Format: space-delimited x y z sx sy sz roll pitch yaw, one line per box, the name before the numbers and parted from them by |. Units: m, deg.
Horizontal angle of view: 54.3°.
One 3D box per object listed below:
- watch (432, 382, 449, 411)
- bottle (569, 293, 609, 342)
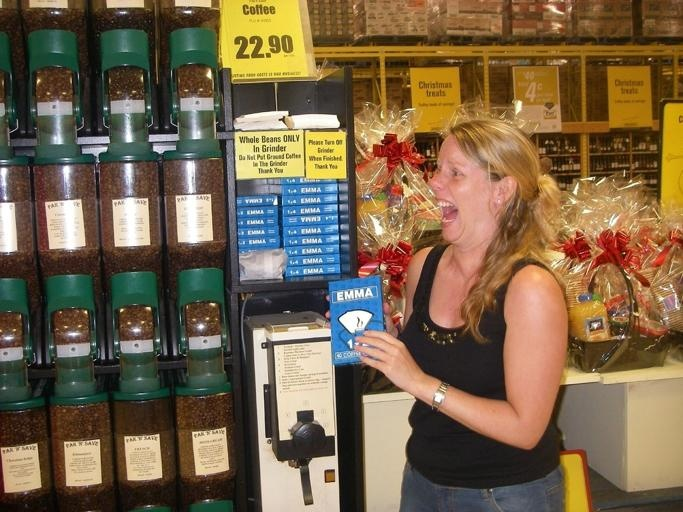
watch | 0.292 0.419 1.975 0.032 0.057 0.057 30 43 13
bottle | 1.100 0.278 2.968 0.191 0.260 0.144 -3 11 7
